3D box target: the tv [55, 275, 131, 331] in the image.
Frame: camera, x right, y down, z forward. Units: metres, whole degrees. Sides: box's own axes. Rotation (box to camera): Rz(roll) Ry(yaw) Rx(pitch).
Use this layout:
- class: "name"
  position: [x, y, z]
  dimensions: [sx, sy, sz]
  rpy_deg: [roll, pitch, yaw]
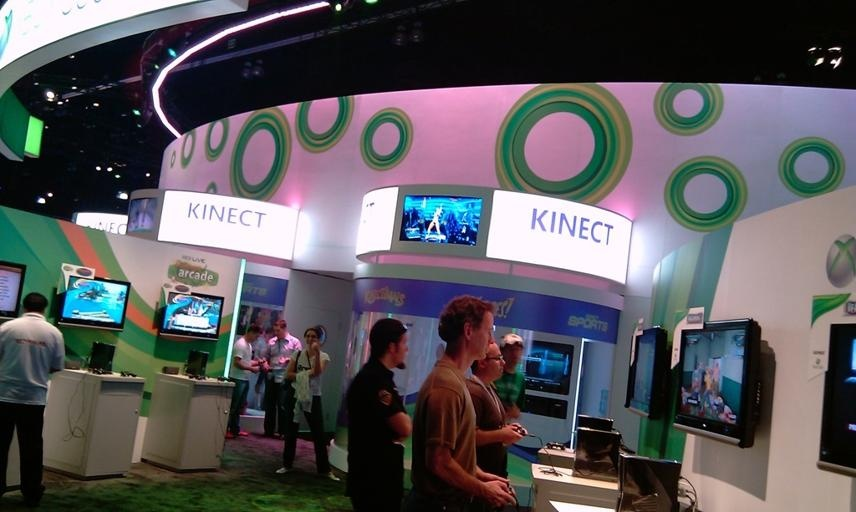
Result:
- class: "tv"
  position: [-5.123, 0.712, 7.830]
  dimensions: [0.823, 0.681, 0.091]
  rpy_deg: [13, -18, -40]

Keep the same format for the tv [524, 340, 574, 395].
- class: "tv"
  position: [1.773, 1.698, 7.720]
  dimensions: [0.717, 0.744, 0.075]
  rpy_deg: [9, -13, -7]

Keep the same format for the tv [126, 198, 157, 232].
- class: "tv"
  position: [-6.235, -0.898, 11.277]
  dimensions: [1.406, 0.638, 0.120]
  rpy_deg: [1, -9, 42]

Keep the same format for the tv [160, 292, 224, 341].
- class: "tv"
  position: [-4.119, 1.037, 8.903]
  dimensions: [0.855, 0.609, 0.114]
  rpy_deg: [8, -12, -36]

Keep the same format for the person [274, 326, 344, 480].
- class: "person"
  position: [-1.754, 2.148, 7.685]
  dimensions: [0.718, 2.183, 0.819]
  rpy_deg: [13, -8, -43]

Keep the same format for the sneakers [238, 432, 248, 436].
- class: "sneakers"
  position: [-3.435, 3.309, 9.581]
  dimensions: [0.110, 0.052, 0.147]
  rpy_deg: [6, -13, -13]

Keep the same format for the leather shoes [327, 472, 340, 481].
- class: "leather shoes"
  position: [-1.404, 3.292, 7.678]
  dimensions: [0.175, 0.087, 0.112]
  rpy_deg: [19, -10, 39]

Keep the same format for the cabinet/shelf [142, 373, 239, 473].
- class: "cabinet/shelf"
  position: [-3.548, 2.480, 7.644]
  dimensions: [1.056, 1.175, 1.066]
  rpy_deg: [20, -21, -40]
